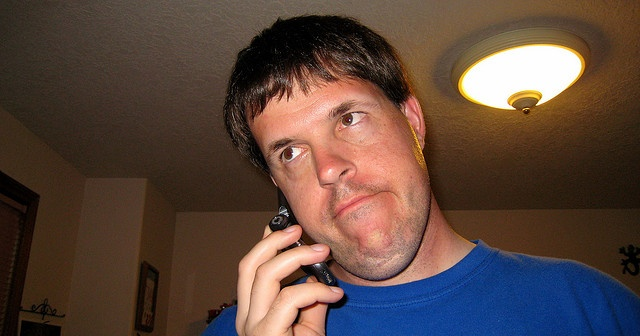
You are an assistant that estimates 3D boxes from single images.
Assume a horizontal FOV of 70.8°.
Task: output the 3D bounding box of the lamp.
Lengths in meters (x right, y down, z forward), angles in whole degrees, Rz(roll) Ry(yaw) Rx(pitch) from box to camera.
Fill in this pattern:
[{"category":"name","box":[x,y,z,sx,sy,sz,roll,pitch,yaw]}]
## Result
[{"category":"lamp","box":[1.933,-0.742,4.434,1.380,0.456,1.226,-5,-28,-1]}]
